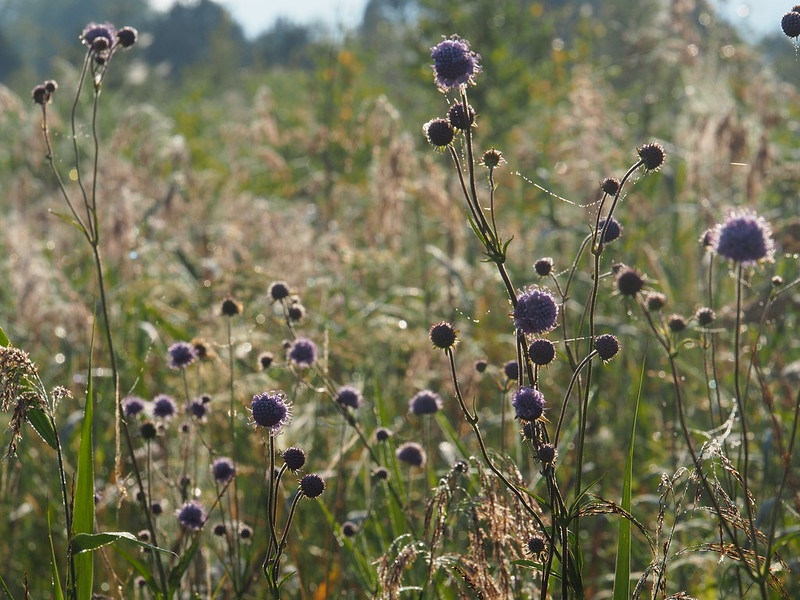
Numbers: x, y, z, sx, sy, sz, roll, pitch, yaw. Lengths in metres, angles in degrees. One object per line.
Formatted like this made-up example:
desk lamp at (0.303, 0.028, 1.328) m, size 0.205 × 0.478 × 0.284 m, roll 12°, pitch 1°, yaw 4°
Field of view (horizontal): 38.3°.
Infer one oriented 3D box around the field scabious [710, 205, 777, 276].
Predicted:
field scabious at (2.538, -0.442, 8.521) m, size 0.315 × 0.302 × 0.521 m, roll -7°, pitch -84°, yaw -41°
